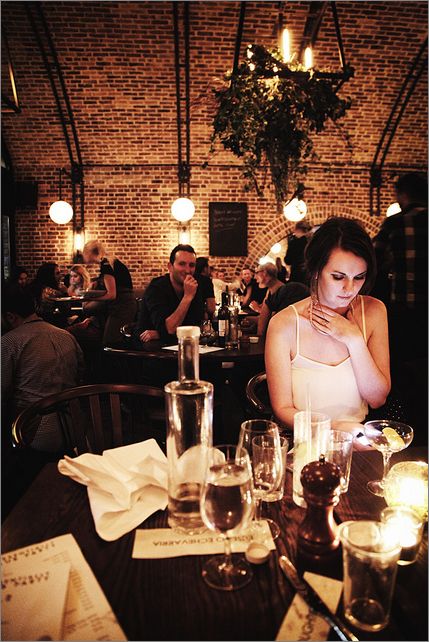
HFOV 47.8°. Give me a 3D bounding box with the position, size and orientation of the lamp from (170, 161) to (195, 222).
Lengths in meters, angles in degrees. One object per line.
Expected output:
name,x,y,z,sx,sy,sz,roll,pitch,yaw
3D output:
lamp,-0.403,-1.726,6.441,0.280,0.816,0.769,-1,5,-2

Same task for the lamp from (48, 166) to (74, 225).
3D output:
lamp,-2.025,-1.660,6.331,0.404,0.801,0.413,-1,6,-9

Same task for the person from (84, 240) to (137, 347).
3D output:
person,-1.058,-0.130,4.808,0.411,1.299,0.456,-11,25,-37

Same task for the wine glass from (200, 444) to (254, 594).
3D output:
wine glass,0.019,0.288,0.752,0.076,0.150,0.196,0,5,0

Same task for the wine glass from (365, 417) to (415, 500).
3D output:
wine glass,0.383,0.304,1.068,0.098,0.157,0.101,4,-1,-21

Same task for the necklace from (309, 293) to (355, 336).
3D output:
necklace,0.398,-0.018,1.654,0.108,0.149,0.047,1,-1,6

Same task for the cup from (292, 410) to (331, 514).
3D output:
cup,0.206,0.277,0.913,0.068,0.155,0.068,6,-39,5

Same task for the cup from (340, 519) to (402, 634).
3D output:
cup,0.202,0.331,0.630,0.074,0.098,0.095,1,6,15

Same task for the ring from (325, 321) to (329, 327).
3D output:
ring,0.386,0.013,1.650,0.006,0.020,0.019,-1,-3,-25

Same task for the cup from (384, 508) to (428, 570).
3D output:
cup,0.291,0.325,0.735,0.061,0.076,0.069,0,4,8
